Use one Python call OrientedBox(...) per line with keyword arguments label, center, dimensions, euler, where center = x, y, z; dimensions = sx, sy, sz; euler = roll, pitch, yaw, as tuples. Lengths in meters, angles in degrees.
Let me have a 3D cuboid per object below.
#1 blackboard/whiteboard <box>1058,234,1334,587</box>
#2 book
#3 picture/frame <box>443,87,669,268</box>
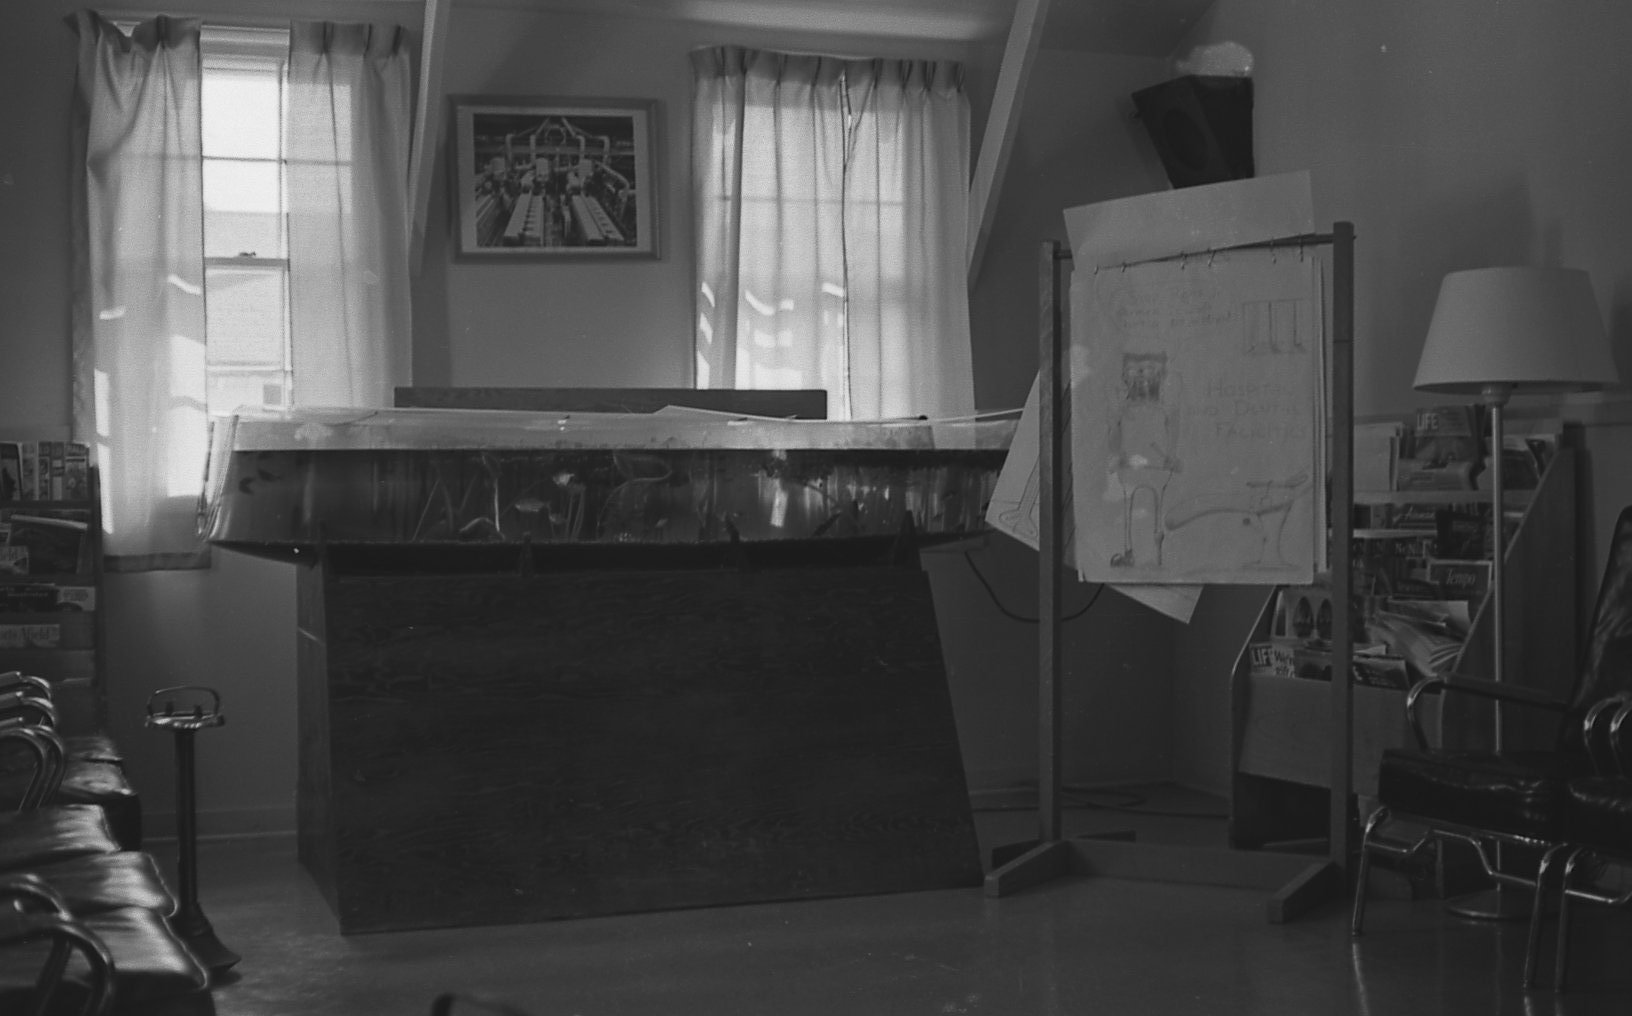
OrientedBox(label="blackboard/whiteboard", center=(1.559, -0.389, 5.938), dimensions=(1.490, 1.806, 0.199), euler=(0, -1, 18))
OrientedBox(label="book", center=(2.499, 0.192, 6.250), dimensions=(0.906, 1.277, 0.475), euler=(4, -8, 39))
OrientedBox(label="picture/frame", center=(-1.326, -1.622, 7.201), dimensions=(0.921, 0.709, 0.060), euler=(-1, 5, -5))
